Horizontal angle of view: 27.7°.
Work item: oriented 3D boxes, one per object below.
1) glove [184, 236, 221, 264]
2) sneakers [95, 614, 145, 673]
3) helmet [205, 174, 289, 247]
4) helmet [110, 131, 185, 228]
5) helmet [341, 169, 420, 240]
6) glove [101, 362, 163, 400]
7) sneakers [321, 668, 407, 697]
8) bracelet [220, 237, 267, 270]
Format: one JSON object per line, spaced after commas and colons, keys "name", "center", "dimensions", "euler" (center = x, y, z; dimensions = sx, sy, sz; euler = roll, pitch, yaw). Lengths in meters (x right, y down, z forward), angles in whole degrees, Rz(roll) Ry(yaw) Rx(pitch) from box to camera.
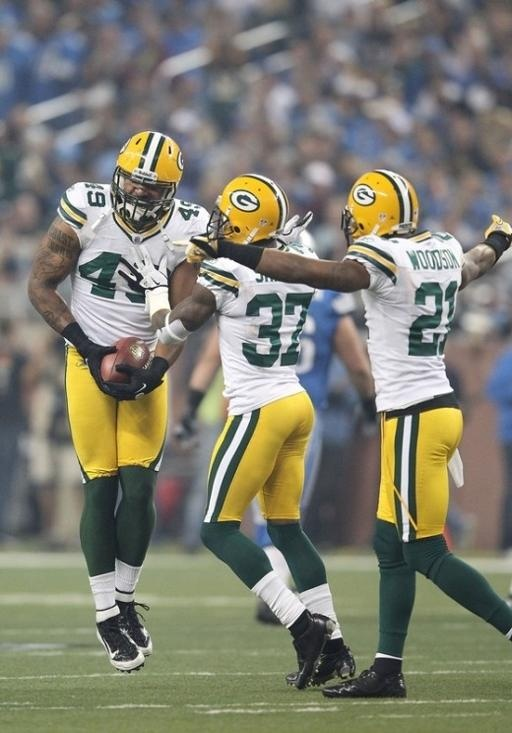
{"name": "glove", "center": [-0.183, -0.401, 3.595], "dimensions": [0.087, 0.045, 0.112], "euler": [0, -8, -32]}
{"name": "sneakers", "center": [-0.592, 1.063, 4.047], "dimensions": [0.123, 0.129, 0.326], "euler": [-16, 17, -27]}
{"name": "helmet", "center": [-0.001, -0.639, 4.154], "dimensions": [0.367, 0.239, 0.261], "euler": [10, 21, 32]}
{"name": "helmet", "center": [-0.456, -0.794, 4.256], "dimensions": [0.311, 0.344, 0.380], "euler": [14, 26, -7]}
{"name": "helmet", "center": [0.502, -0.613, 4.001], "dimensions": [0.283, 0.261, 0.298], "euler": [-6, 13, -14]}
{"name": "glove", "center": [-0.464, 0.052, 4.038], "dimensions": [0.197, 0.084, 0.135], "euler": [-24, 13, -18]}
{"name": "sneakers", "center": [0.404, 1.125, 3.710], "dimensions": [0.349, 0.099, 0.097], "euler": [1, -13, 8]}
{"name": "bracelet", "center": [-0.054, -0.390, 3.604], "dimensions": [0.156, 0.110, 0.081], "euler": [0, 33, 2]}
